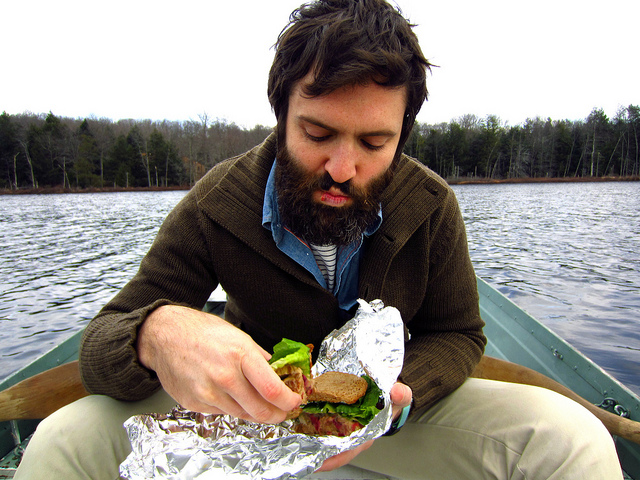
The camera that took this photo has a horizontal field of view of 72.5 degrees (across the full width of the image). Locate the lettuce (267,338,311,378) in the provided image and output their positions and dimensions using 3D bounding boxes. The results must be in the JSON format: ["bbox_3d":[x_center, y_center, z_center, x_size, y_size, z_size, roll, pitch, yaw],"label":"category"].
[{"bbox_3d":[-0.198,0.680,2.661,0.250,0.223,0.226,0,3,-22],"label":"lettuce"}]

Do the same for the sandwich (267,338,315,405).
[{"bbox_3d":[-0.201,0.773,2.670,0.291,0.389,0.297,2,5,-13],"label":"sandwich"}]

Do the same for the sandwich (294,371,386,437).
[{"bbox_3d":[0.106,1.046,2.891,0.492,0.186,0.434,-6,6,-39],"label":"sandwich"}]
